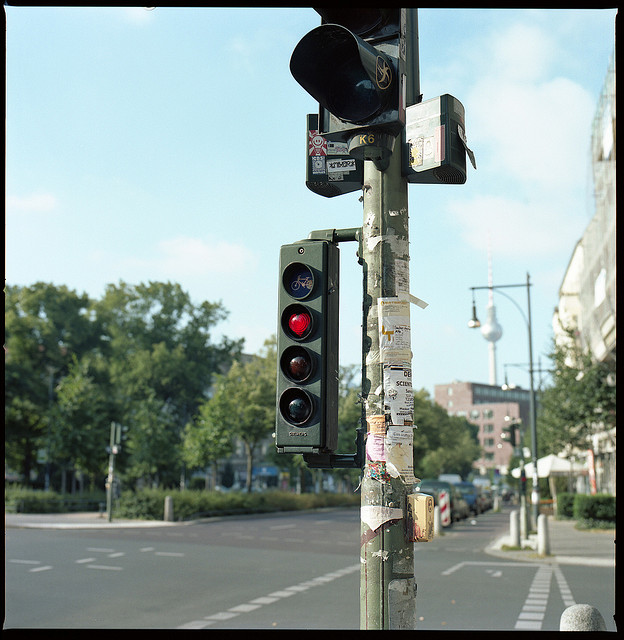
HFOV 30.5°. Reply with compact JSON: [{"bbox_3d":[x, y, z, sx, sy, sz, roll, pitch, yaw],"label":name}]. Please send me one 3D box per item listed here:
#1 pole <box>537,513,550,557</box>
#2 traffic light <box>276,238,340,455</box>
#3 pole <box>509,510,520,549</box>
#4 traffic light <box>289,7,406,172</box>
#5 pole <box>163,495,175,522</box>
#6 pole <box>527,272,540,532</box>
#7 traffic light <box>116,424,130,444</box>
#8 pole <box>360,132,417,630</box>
[{"bbox_3d":[4.230,3.933,20.918,0.218,0.746,0.504,-2,-10,11],"label":"pole"},{"bbox_3d":[-0.034,0.200,8.797,0.469,1.621,0.213,1,-9,-3],"label":"traffic light"},{"bbox_3d":[4.116,4.212,23.227,0.196,0.763,0.578,-1,-10,10],"label":"pole"},{"bbox_3d":[0.305,-1.866,9.020,0.856,1.271,0.591,0,-10,2],"label":"traffic light"},{"bbox_3d":[-1.912,2.507,15.269,0.055,0.357,0.251,7,-12,-37],"label":"pole"},{"bbox_3d":[3.905,1.513,20.204,0.141,5.155,0.160,-17,24,-23],"label":"pole"},{"bbox_3d":[-2.774,1.671,16.830,0.218,0.265,0.055,-6,-10,36],"label":"traffic light"},{"bbox_3d":[0.595,0.444,9.080,0.416,3.908,0.432,0,-9,4],"label":"pole"}]
